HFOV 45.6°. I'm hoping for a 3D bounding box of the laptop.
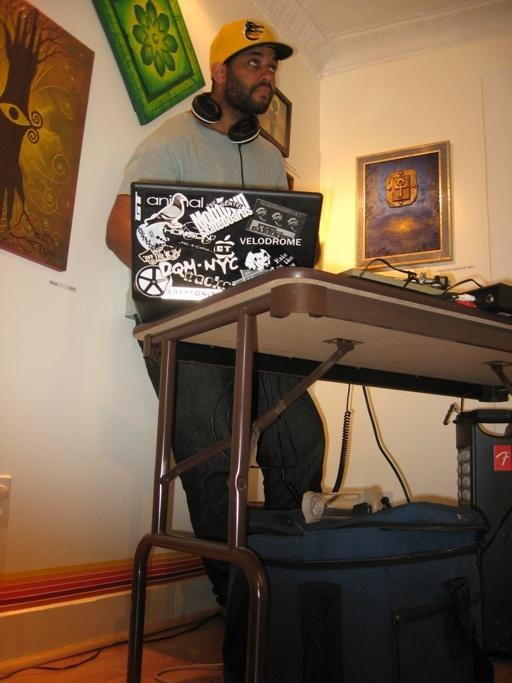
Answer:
[{"bbox_3d":[-0.066,-0.136,1.172,0.332,0.206,0.216,2,11,-5],"label":"laptop"}]
